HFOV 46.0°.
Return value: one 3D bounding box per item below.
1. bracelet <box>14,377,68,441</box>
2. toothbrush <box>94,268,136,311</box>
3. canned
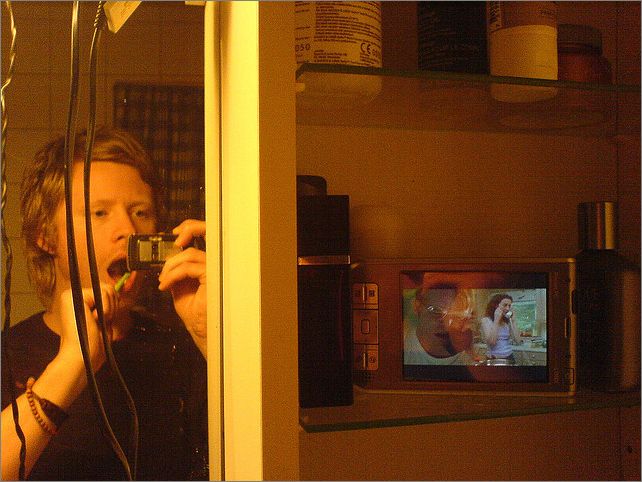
[{"bbox_3d":[-0.348,0.213,0.949,0.036,0.073,0.057,-43,-8,5],"label":"bracelet"},{"bbox_3d":[-0.262,0.058,0.955,0.012,0.068,0.013,45,-5,-20],"label":"toothbrush"},{"bbox_3d":[0.343,-0.233,1.028,0.103,0.097,0.080,5,5,38],"label":"canned"}]
